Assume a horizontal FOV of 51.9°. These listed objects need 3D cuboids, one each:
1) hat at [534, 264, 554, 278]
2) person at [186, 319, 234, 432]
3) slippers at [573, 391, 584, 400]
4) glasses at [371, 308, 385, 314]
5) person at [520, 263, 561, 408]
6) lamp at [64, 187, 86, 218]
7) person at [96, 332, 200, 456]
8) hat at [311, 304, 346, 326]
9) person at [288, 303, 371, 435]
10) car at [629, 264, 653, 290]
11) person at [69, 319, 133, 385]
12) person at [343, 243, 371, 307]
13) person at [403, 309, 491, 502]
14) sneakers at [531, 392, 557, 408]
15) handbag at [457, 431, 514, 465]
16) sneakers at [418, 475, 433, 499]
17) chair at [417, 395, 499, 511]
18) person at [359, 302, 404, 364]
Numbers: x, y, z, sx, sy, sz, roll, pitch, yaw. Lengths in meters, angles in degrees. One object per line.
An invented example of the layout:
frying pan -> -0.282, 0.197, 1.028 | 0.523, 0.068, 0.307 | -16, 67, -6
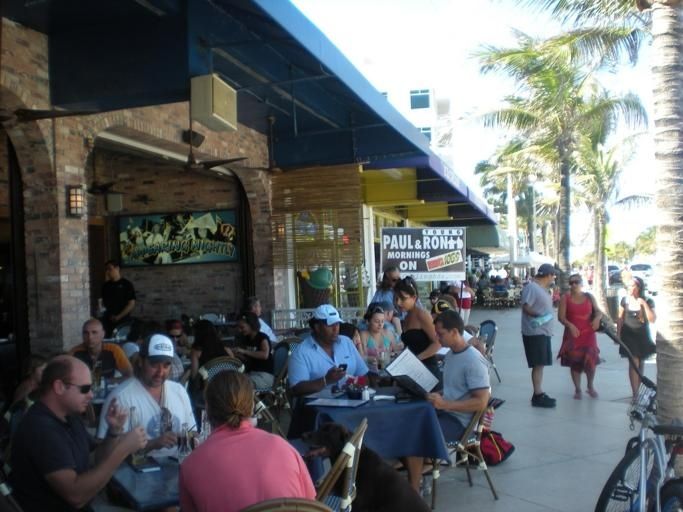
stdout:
hat -> 3.126, 0.222, 10.701 | 0.245, 0.198, 0.402 | 9, 3, 43
person -> -1.722, 1.628, 9.177 | 0.531, 1.748, 0.552 | -4, 8, -13
slippers -> 3.553, 2.110, 10.582 | 0.068, 0.171, 0.207 | 0, -17, 7
glasses -> 0.475, 0.711, 9.173 | 0.089, 0.078, 0.099 | 2, -3, -5
person -> 2.974, 1.154, 10.563 | 0.634, 1.456, 1.074 | 6, 4, 16
lamp -> -3.498, -0.724, 9.242 | 0.263, 0.430, 0.160 | 3, 5, -33
person -> -1.662, 1.180, 6.183 | 0.916, 1.458, 0.864 | 3, -9, -33
hat -> -0.156, 0.629, 7.567 | 0.315, 0.193, 0.243 | -2, 0, 30
person -> -0.144, 1.408, 7.630 | 0.907, 1.713, 1.103 | 0, 7, 4
car -> 13.614, 0.868, 31.756 | 1.221, 1.207, 2.262 | -3, -6, 25
person -> -2.877, 1.195, 8.189 | 0.697, 0.986, 0.573 | -3, 8, -19
person -> 0.303, 0.359, 13.347 | 0.425, 1.246, 1.316 | 6, 4, 13
person -> 0.948, 1.557, 7.262 | 1.016, 1.861, 0.770 | -1, 8, -13
sneakers -> 2.924, 2.088, 10.190 | 0.280, 0.151, 0.173 | -1, 1, 25
handbag -> 1.652, 2.178, 7.947 | 0.531, 0.235, 0.457 | -5, 15, -10
sneakers -> 0.863, 2.407, 7.316 | 0.094, 0.225, 0.305 | -3, -15, 6
chair -> 1.232, 2.090, 7.627 | 0.850, 1.332, 0.818 | 0, -9, -11
person -> 0.608, 1.007, 9.441 | 0.600, 0.898, 0.660 | -4, 6, -33
